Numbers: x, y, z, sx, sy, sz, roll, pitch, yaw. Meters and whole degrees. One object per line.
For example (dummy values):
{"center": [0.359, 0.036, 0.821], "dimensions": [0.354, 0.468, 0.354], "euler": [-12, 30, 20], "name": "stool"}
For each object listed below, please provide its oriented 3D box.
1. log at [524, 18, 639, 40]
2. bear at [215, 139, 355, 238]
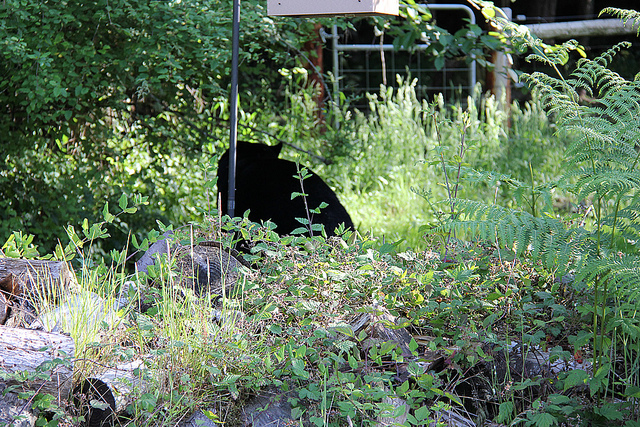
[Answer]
{"center": [3.173, -2.266, 8.126], "dimensions": [1.437, 0.263, 0.777], "euler": [0, 12, -4], "name": "log"}
{"center": [-0.229, -0.131, 4.444], "dimensions": [0.905, 0.753, 0.936], "euler": [-1, 11, -9], "name": "bear"}
